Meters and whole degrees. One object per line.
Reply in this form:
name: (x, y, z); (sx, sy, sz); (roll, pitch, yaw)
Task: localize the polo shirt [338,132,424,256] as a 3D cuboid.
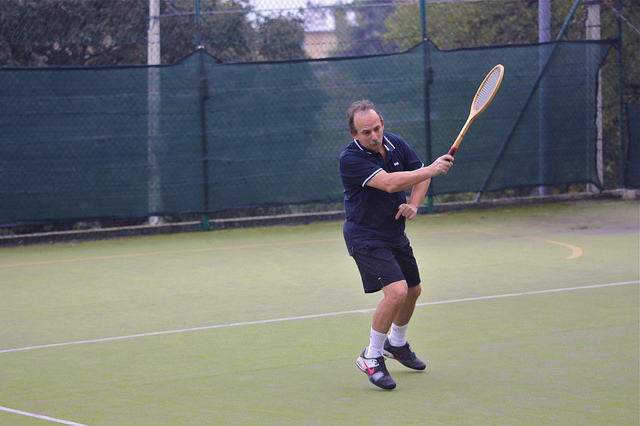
polo shirt: (0.757, -0.242, 15.644); (0.935, 1.540, 0.512); (-5, 5, -8)

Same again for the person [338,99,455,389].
person: (0.894, 0.373, 15.568); (1.095, 3.580, 0.758); (-5, 5, -5)

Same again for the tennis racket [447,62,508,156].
tennis racket: (1.969, -1.213, 16.323); (0.129, 1.516, 0.475); (27, -1, 18)
